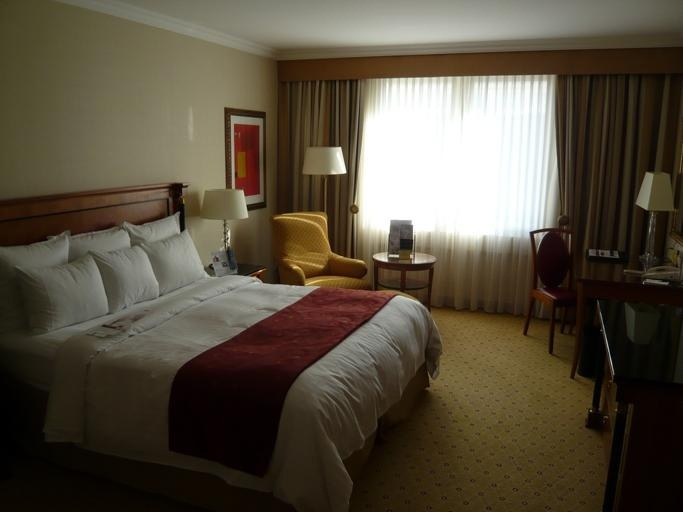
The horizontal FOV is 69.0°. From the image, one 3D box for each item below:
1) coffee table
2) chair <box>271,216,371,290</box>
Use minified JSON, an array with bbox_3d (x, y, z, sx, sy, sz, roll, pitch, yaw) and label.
[{"bbox_3d":[0.965,0.352,6.363,0.489,0.609,0.534,4,4,-2],"label":"coffee table"},{"bbox_3d":[-0.250,0.175,6.256,0.958,1.455,1.144,-6,6,-26],"label":"chair"}]
